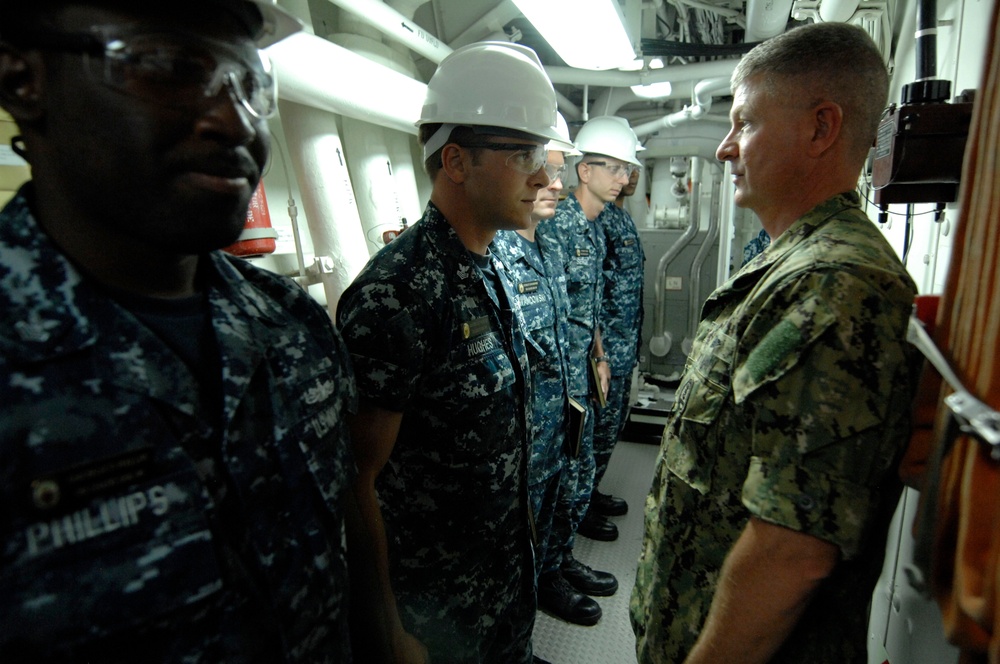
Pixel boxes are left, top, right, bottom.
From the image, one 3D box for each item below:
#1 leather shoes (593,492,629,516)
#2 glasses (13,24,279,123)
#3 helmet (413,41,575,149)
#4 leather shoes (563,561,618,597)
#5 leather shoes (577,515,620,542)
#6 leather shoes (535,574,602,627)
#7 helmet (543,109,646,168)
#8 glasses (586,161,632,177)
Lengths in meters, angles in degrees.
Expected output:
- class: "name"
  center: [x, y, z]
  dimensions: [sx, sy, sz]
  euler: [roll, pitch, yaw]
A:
- class: "leather shoes"
  center: [0.572, 0.891, 4.229]
  dimensions: [0.167, 0.067, 0.088]
  euler: [-1, 10, 15]
- class: "glasses"
  center: [-0.626, -0.497, 1.545]
  dimensions: [0.226, 0.068, 0.218]
  euler: [15, 11, 1]
- class: "helmet"
  center: [-0.041, -0.704, 2.474]
  dimensions: [0.399, 0.326, 0.310]
  euler: [-2, 12, -1]
- class: "leather shoes"
  center: [0.383, 1.054, 3.524]
  dimensions: [0.282, 0.123, 0.106]
  euler: [2, 15, 16]
- class: "leather shoes"
  center: [0.479, 0.972, 4.022]
  dimensions: [0.180, 0.073, 0.098]
  euler: [-5, 4, 43]
- class: "leather shoes"
  center: [0.252, 1.088, 3.370]
  dimensions: [0.359, 0.148, 0.128]
  euler: [2, 12, 40]
- class: "helmet"
  center: [0.587, -0.986, 4.277]
  dimensions: [0.649, 0.275, 0.432]
  euler: [12, 15, 32]
- class: "glasses"
  center: [0.561, -0.858, 4.231]
  dimensions: [0.119, 0.036, 0.119]
  euler: [25, 11, 21]
